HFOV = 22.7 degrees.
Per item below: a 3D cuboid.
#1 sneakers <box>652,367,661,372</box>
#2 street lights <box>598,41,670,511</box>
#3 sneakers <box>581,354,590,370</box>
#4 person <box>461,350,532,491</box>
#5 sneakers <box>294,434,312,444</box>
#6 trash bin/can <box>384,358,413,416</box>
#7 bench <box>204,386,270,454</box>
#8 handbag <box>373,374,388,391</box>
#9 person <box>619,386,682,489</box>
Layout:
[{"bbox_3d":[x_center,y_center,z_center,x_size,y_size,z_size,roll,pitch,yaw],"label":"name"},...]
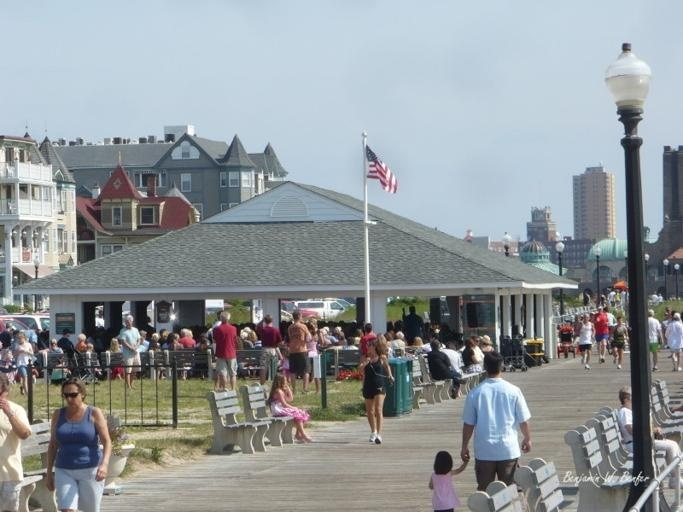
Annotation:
[{"bbox_3d":[9.936,3.596,53.701,0.165,0.116,0.220,-1,-6,21],"label":"sneakers"},{"bbox_3d":[5.412,0.322,31.172,0.739,8.488,0.405,-3,-4,9],"label":"street lights"},{"bbox_3d":[8.078,3.480,56.044,0.206,0.300,0.668,-2,-2,4],"label":"sneakers"},{"bbox_3d":[2.844,3.040,31.498,1.267,2.537,0.515,-2,-4,4],"label":"person"},{"bbox_3d":[-0.881,4.086,38.244,0.412,0.306,0.152,2,5,28],"label":"sneakers"},{"bbox_3d":[1.378,3.210,41.758,0.596,1.486,1.619,-1,-1,10],"label":"trash bin/can"},{"bbox_3d":[-2.193,3.660,37.491,1.190,1.514,1.602,-1,-1,15],"label":"bench"},{"bbox_3d":[0.898,2.855,38.063,0.096,0.390,0.304,-5,-5,36],"label":"handbag"},{"bbox_3d":[5.946,3.565,32.823,0.813,1.297,2.127,-2,1,12],"label":"person"}]
